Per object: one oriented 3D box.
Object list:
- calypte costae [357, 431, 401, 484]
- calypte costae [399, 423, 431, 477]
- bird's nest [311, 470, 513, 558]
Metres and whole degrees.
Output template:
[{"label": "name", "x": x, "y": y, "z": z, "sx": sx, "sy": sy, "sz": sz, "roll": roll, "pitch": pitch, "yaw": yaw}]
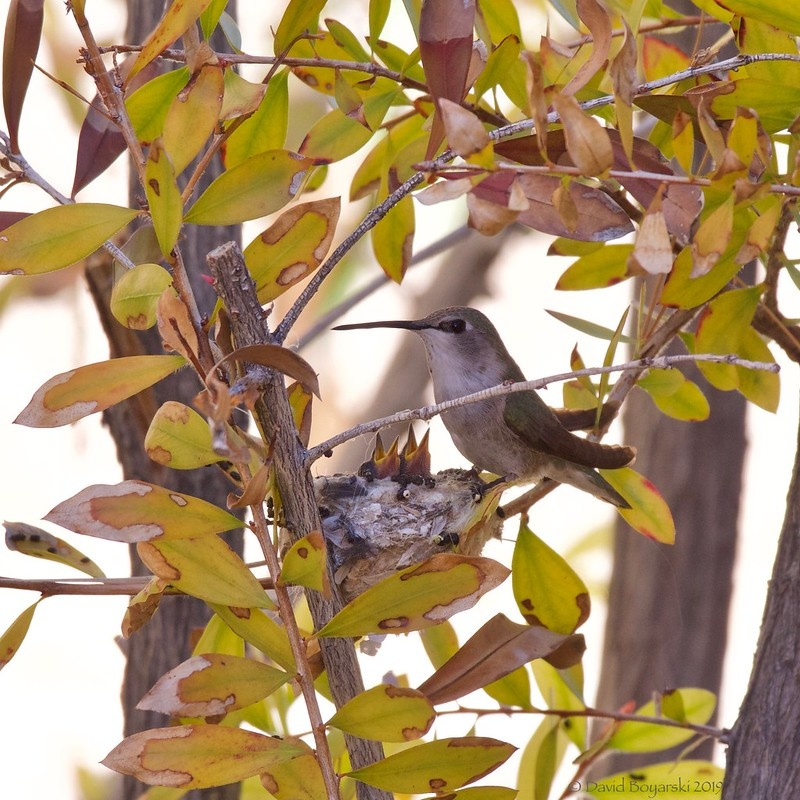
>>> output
[{"label": "calypte costae", "x": -0.034, "y": 0.124, "z": 3.191, "sx": 0.053, "sy": 0.086, "sz": 0.123, "roll": 12, "pitch": -44, "yaw": 9}, {"label": "calypte costae", "x": 0.036, "y": 0.101, "z": 3.221, "sx": 0.046, "sy": 0.109, "sz": 0.109, "roll": 1, "pitch": -77, "yaw": 8}, {"label": "bird's nest", "x": -0.002, "y": 0.194, "z": 3.040, "sx": 0.209, "sy": 0.073, "sz": 0.204, "roll": -37, "pitch": -38, "yaw": 21}]
